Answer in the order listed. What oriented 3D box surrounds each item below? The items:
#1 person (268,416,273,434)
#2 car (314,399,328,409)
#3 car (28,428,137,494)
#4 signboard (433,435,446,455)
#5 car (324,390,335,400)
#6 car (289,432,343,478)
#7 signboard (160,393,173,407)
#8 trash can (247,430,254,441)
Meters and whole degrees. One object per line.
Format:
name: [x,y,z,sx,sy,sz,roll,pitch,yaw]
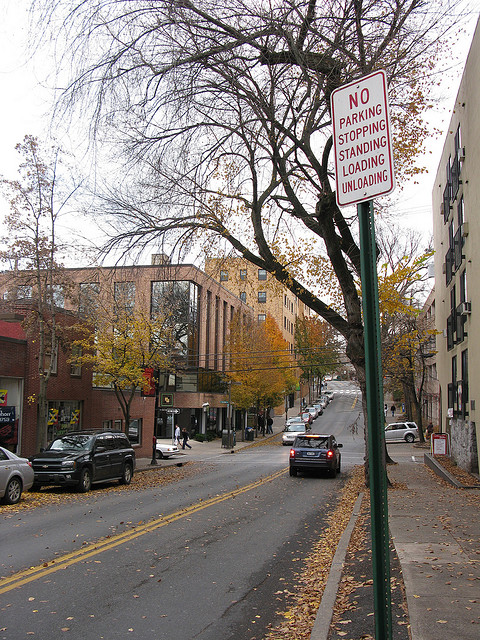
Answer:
person: [3.110,11.030,62.262,0.454,1.545,1.465,-3,-9,2]
car: [10.350,10.707,76.533,0.955,0.862,1.755,-6,-23,14]
car: [-4.843,4.367,18.588,1.512,1.526,3.455,-6,-18,12]
signboard: [9.086,5.686,27.321,0.599,0.898,0.527,-5,-9,17]
car: [14.586,12.006,97.614,1.134,1.081,3.063,-4,-17,11]
car: [2.878,5.006,22.432,1.206,1.123,2.303,-2,-7,12]
signboard: [-4.309,4.646,34.900,0.684,0.732,0.864,0,-10,-15]
trash can: [0.902,10.318,53.662,0.678,1.152,0.753,-1,0,-1]
